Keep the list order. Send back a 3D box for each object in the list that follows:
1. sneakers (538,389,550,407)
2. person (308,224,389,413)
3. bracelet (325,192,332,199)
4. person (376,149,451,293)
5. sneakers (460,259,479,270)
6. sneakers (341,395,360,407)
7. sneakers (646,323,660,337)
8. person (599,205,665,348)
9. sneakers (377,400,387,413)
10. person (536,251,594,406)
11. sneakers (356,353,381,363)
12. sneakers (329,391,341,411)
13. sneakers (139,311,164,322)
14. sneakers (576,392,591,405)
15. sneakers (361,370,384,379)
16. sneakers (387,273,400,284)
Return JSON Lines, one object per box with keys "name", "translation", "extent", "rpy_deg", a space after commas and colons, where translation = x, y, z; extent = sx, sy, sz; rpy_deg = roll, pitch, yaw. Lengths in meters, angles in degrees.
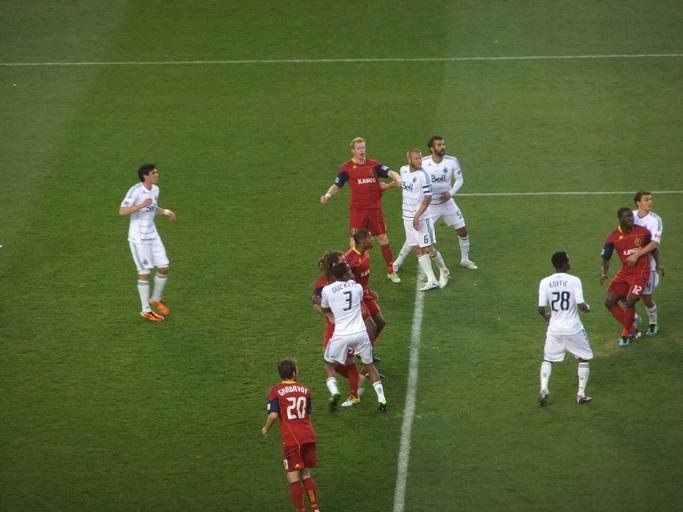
{"name": "sneakers", "translation": [3.399, 2.363, 21.760], "extent": [0.155, 0.291, 0.139], "rpy_deg": [6, 46, 4]}
{"name": "person", "translation": [0.138, 1.264, 21.903], "extent": [0.995, 2.617, 1.096], "rpy_deg": [-6, 12, -1]}
{"name": "bracelet", "translation": [-0.264, -1.158, 24.621], "extent": [0.149, 0.052, 0.184], "rpy_deg": [-4, 9, 12]}
{"name": "person", "translation": [1.468, -0.685, 24.564], "extent": [0.666, 2.716, 0.757], "rpy_deg": [-16, 16, -39]}
{"name": "sneakers", "translation": [2.470, 0.142, 25.257], "extent": [0.365, 0.130, 0.145], "rpy_deg": [11, -18, 4]}
{"name": "sneakers", "translation": [0.147, 2.468, 22.105], "extent": [0.398, 0.152, 0.125], "rpy_deg": [-13, 48, -3]}
{"name": "sneakers", "translation": [5.549, 1.303, 23.153], "extent": [0.131, 0.121, 0.318], "rpy_deg": [2, 10, 18]}
{"name": "person", "translation": [5.099, 0.341, 22.910], "extent": [0.955, 2.428, 0.625], "rpy_deg": [-3, 13, 12]}
{"name": "sneakers", "translation": [0.682, 2.489, 21.699], "extent": [0.150, 0.172, 0.182], "rpy_deg": [4, 26, 1]}
{"name": "person", "translation": [3.732, 1.181, 21.872], "extent": [0.914, 2.563, 0.960], "rpy_deg": [-4, 12, 9]}
{"name": "sneakers", "translation": [0.524, 1.791, 23.003], "extent": [0.526, 0.191, 0.165], "rpy_deg": [2, 3, 23]}
{"name": "sneakers", "translation": [-0.139, 2.421, 21.726], "extent": [0.224, 0.332, 0.089], "rpy_deg": [-16, 48, -44]}
{"name": "sneakers", "translation": [-3.571, 1.090, 24.149], "extent": [0.359, 0.121, 0.191], "rpy_deg": [6, 14, 24]}
{"name": "sneakers", "translation": [4.085, 2.365, 21.863], "extent": [0.121, 0.128, 0.302], "rpy_deg": [14, 37, 40]}
{"name": "sneakers", "translation": [0.593, 2.039, 22.418], "extent": [0.511, 0.182, 0.146], "rpy_deg": [-2, 17, 8]}
{"name": "sneakers", "translation": [1.045, 0.404, 25.070], "extent": [0.118, 0.122, 0.307], "rpy_deg": [-37, 43, -30]}
